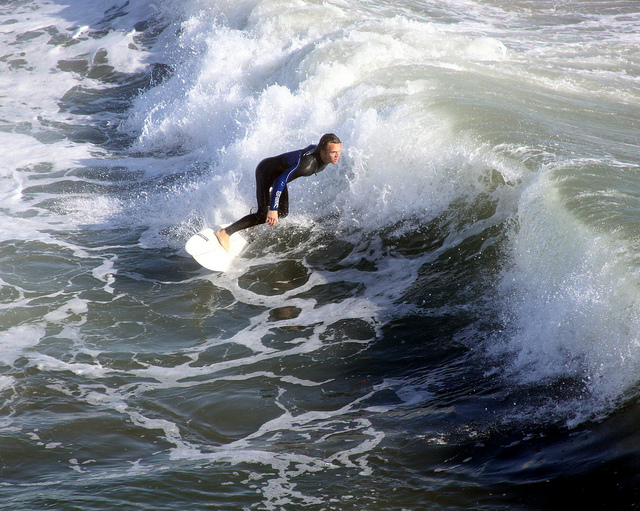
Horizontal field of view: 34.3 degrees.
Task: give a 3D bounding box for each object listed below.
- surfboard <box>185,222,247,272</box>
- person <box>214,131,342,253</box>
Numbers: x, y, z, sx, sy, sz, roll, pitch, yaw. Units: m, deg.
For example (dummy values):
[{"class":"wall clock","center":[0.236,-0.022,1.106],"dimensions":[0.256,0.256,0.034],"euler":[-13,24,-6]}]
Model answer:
[{"class":"surfboard","center":[-1.729,-0.096,16.584],"dimensions":[1.049,0.647,0.231],"euler":[-31,1,-25]},{"class":"person","center":[-0.773,-1.009,16.384],"dimensions":[1.897,2.074,1.117],"euler":[-19,44,-22]}]
